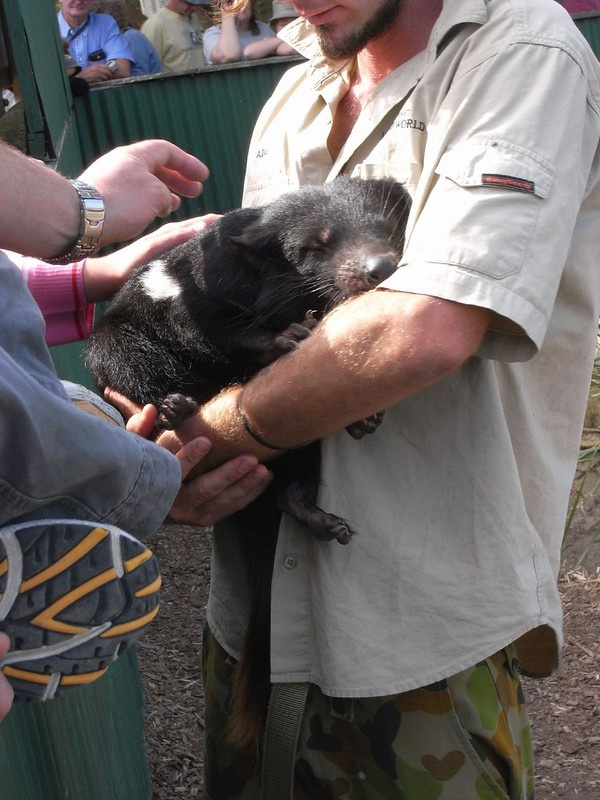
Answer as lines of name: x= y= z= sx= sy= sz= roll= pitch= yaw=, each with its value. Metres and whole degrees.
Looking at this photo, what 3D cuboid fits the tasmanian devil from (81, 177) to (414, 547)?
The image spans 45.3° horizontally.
tasmanian devil: x=-0.283 y=-0.118 z=1.832 sx=0.593 sy=0.558 sz=0.966 roll=-16 pitch=-3 yaw=-39
